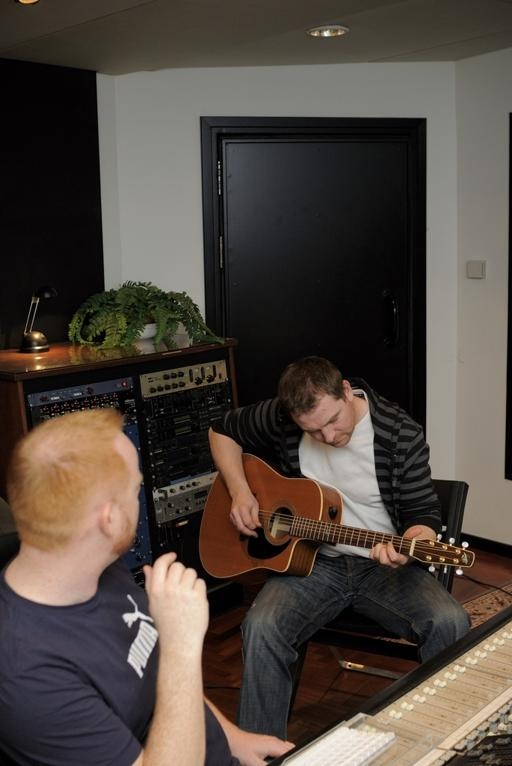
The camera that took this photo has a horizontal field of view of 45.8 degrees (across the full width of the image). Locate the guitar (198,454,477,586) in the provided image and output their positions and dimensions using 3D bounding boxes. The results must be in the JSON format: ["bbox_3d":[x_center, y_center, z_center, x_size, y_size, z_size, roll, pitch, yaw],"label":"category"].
[{"bbox_3d":[0.234,0.499,1.989,0.886,0.425,0.128,3,-25,33],"label":"guitar"}]

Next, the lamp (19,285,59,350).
[{"bbox_3d":[-0.957,-0.281,2.650,0.172,0.264,0.472,-9,12,-19],"label":"lamp"}]
